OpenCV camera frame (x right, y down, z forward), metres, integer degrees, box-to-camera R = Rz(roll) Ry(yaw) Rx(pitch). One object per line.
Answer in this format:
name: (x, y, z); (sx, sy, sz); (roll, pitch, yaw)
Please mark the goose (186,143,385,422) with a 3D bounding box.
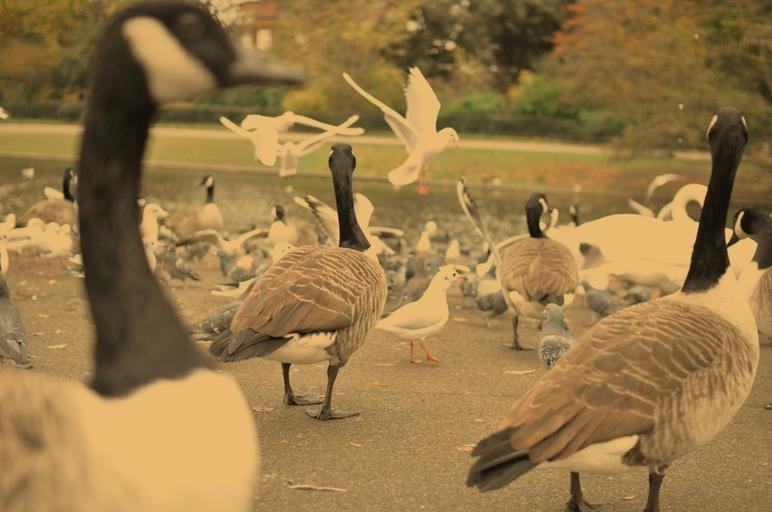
goose: (-1.150, 0.199, 15.648); (1.201, 2.665, 1.887); (10, 11, 42)
